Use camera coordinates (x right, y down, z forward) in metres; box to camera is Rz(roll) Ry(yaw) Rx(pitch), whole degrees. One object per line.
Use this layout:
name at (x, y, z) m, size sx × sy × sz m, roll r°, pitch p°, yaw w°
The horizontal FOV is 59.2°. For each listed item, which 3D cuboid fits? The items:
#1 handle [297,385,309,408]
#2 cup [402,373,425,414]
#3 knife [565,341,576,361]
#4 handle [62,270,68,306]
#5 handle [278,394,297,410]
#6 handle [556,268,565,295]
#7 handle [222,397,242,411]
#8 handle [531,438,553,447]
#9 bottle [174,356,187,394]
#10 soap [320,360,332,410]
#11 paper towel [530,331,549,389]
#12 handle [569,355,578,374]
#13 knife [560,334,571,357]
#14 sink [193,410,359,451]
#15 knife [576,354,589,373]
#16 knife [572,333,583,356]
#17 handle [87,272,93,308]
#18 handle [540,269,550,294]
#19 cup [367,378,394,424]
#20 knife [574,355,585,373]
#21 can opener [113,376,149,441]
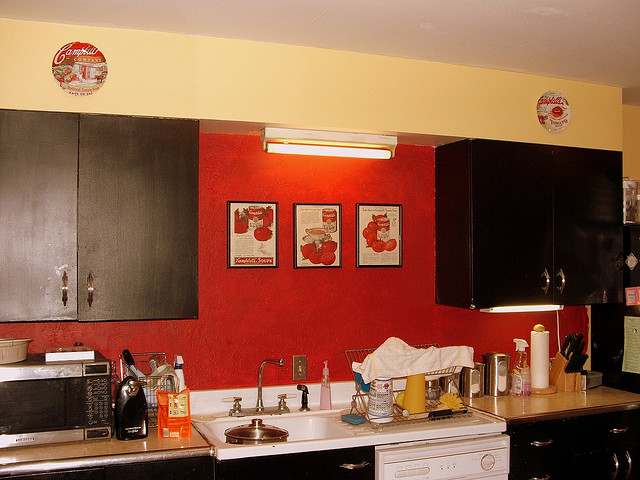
handle at (-0.105, 0.958, 3.478) m, size 0.058 × 0.146 × 0.109 m, roll -3°, pitch -4°, yaw 1°
cup at (0.574, 0.931, 3.418) m, size 0.146 × 0.213 × 0.155 m, roll 1°, pitch -11°, yaw 0°
knife at (1.715, 0.759, 3.871) m, size 0.035 × 0.133 × 0.033 m, roll 17°, pitch -1°, yaw 38°
handle at (-1.293, 0.243, 2.865) m, size 0.024 × 0.168 × 0.015 m, roll 0°, pitch -5°, yaw -29°
handle at (-0.202, 0.994, 3.467) m, size 0.110 × 0.080 × 0.056 m, roll 0°, pitch -1°, yaw -16°
handle at (1.592, 0.271, 3.728) m, size 0.051 × 0.161 × 0.012 m, roll -1°, pitch -4°, yaw -17°
handle at (-0.523, 0.976, 3.366) m, size 0.117 × 0.103 × 0.064 m, roll 2°, pitch -6°, yaw -8°
handle at (1.311, 1.180, 3.329) m, size 0.061 × 0.014 × 0.058 m, roll 0°, pitch -2°, yaw 8°
bottle at (-0.761, 0.725, 3.064) m, size 0.054 × 0.178 × 0.191 m, roll -1°, pitch -4°, yaw -15°
soap at (0.035, 0.906, 3.550) m, size 0.073 × 0.287 × 0.158 m, roll -3°, pitch -4°, yaw 5°
paper towel at (1.499, 0.817, 3.855) m, size 0.128 × 0.377 × 0.077 m, roll -4°, pitch -5°, yaw 20°
handle at (1.738, 0.846, 3.901) m, size 0.020 × 0.168 × 0.025 m, roll 31°, pitch 21°, yaw 34°
knife at (1.712, 0.731, 3.948) m, size 0.041 × 0.174 × 0.048 m, roll 22°, pitch -1°, yaw 15°
sink at (-0.255, 1.089, 3.115) m, size 0.780 × 0.175 × 0.560 m, roll -1°, pitch -5°, yaw -23°
knife at (1.834, 0.839, 3.916) m, size 0.033 × 0.184 × 0.038 m, roll -2°, pitch 29°, yaw -43°
knife at (1.767, 0.701, 3.875) m, size 0.045 × 0.175 × 0.035 m, roll 26°, pitch -4°, yaw 4°
handle at (-1.178, 0.254, 2.893) m, size 0.026 × 0.166 × 0.012 m, roll -1°, pitch -4°, yaw -16°
handle at (1.470, 0.269, 3.689) m, size 0.068 × 0.159 × 0.020 m, roll 0°, pitch -5°, yaw -28°
cup at (0.347, 0.920, 3.280) m, size 0.152 × 0.247 × 0.169 m, roll -3°, pitch -4°, yaw 6°
knife at (1.776, 0.859, 3.916) m, size 0.031 × 0.163 × 0.043 m, roll -30°, pitch 58°, yaw -34°
can opener at (-0.996, 0.859, 2.969) m, size 0.163 × 0.313 × 0.168 m, roll 0°, pitch 5°, yaw -21°
